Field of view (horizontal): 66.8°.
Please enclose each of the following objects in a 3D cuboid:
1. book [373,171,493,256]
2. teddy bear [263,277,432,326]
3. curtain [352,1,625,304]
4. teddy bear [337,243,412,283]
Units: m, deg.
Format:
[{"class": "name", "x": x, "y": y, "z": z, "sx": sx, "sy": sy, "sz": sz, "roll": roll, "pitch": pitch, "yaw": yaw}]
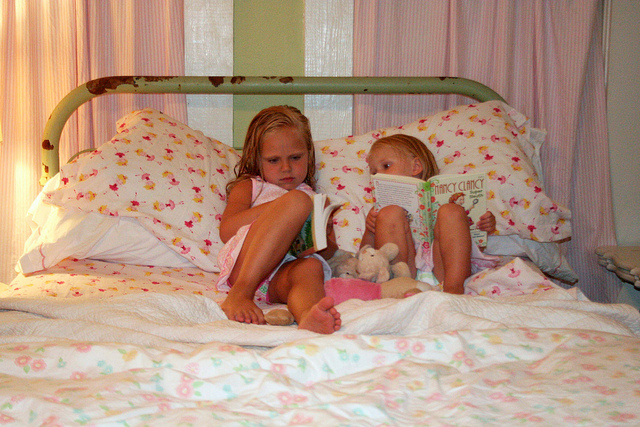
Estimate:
[{"class": "book", "x": 0.459, "y": -0.025, "z": 1.870, "sx": 0.470, "sy": 0.317, "sz": 0.112, "roll": 2, "pitch": 15, "yaw": 18}, {"class": "teddy bear", "x": 0.125, "y": 0.260, "z": 1.588, "sx": 0.332, "sy": 0.097, "sz": 0.219, "roll": -7, "pitch": -3, "yaw": -7}, {"class": "curtain", "x": 1.004, "y": -0.394, "z": 2.633, "sx": 1.618, "sy": 1.523, "sz": 0.335, "roll": 0, "pitch": 0, "yaw": 1}, {"class": "teddy bear", "x": 0.192, "y": 0.187, "z": 1.759, "sx": 0.171, "sy": 0.074, "sz": 0.170, "roll": -1, "pitch": -35, "yaw": 26}]
